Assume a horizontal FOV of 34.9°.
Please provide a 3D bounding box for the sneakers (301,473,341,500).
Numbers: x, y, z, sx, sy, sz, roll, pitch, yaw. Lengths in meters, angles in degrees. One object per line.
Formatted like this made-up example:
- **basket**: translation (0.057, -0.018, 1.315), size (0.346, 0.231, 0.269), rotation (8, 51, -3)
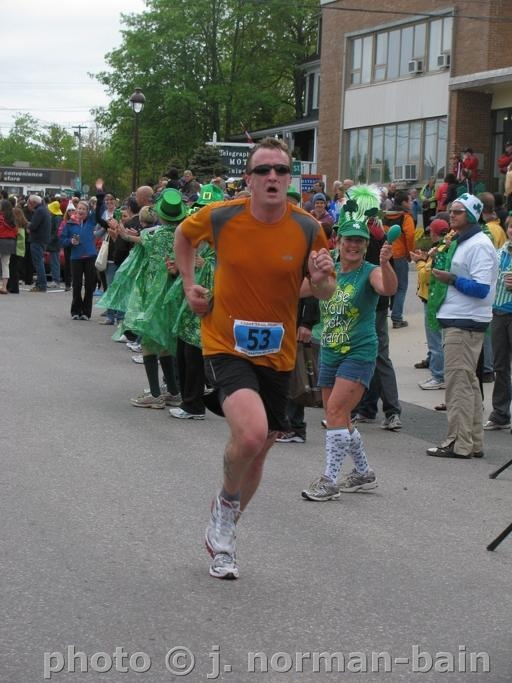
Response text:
- **sneakers**: translation (0.433, 0.966, 5.298), size (0.311, 0.131, 0.113), rotation (7, -8, -38)

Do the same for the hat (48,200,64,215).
- **hat**: translation (-5.322, -3.520, 21.546), size (0.454, 0.188, 0.516), rotation (-3, 28, -27)

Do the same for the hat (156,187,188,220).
- **hat**: translation (-0.861, -1.398, 8.266), size (0.324, 0.311, 0.186), rotation (-2, -23, -20)

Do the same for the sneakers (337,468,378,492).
- **sneakers**: translation (0.718, 0.971, 5.655), size (0.351, 0.145, 0.113), rotation (-4, -5, 10)

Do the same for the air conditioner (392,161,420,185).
- **air conditioner**: translation (5.940, -6.710, 32.676), size (0.903, 0.944, 1.435), rotation (0, 2, -16)

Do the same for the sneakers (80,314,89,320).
- **sneakers**: translation (-3.295, -0.479, 15.560), size (0.108, 0.106, 0.265), rotation (0, -4, -18)

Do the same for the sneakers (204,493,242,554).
- **sneakers**: translation (-0.156, 0.842, 3.710), size (0.123, 0.309, 0.145), rotation (17, -42, -21)

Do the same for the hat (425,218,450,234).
- **hat**: translation (2.331, -1.469, 10.410), size (0.209, 0.128, 0.242), rotation (0, 25, -6)

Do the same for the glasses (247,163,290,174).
- **glasses**: translation (0.063, -0.755, 3.591), size (0.179, 0.057, 0.093), rotation (3, 3, -3)

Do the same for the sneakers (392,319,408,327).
- **sneakers**: translation (2.702, -0.358, 15.164), size (0.281, 0.169, 0.113), rotation (-11, 41, -8)

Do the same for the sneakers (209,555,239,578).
- **sneakers**: translation (-0.139, 1.014, 3.691), size (0.137, 0.103, 0.112), rotation (4, 3, -5)
